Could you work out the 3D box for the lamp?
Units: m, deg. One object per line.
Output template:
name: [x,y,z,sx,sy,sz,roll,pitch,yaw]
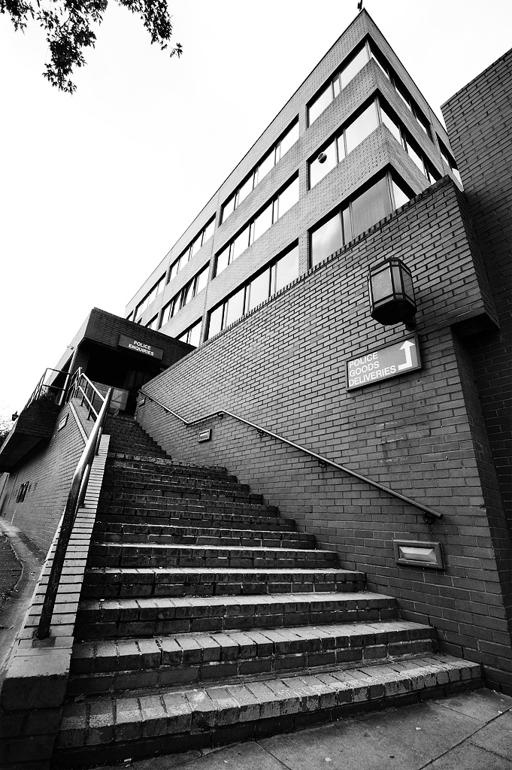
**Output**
lamp: [1.286,-0.916,4.542,0.491,0.521,0.313,-22,-34,34]
